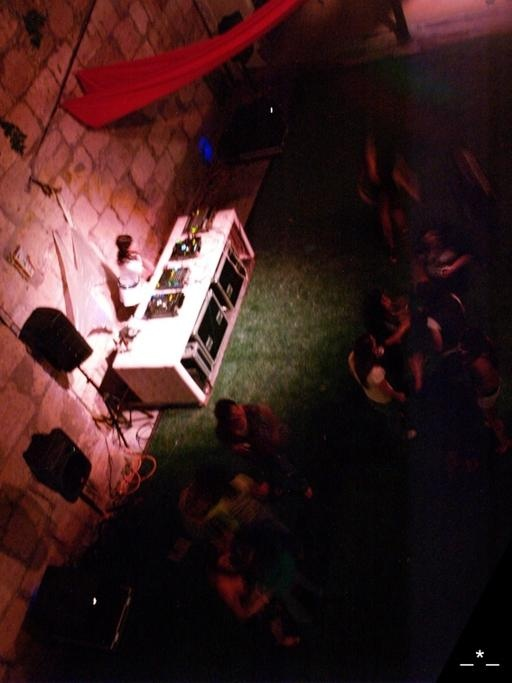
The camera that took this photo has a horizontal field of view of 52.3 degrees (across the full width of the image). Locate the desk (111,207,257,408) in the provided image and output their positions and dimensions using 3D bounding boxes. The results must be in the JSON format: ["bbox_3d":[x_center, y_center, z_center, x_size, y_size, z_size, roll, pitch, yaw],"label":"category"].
[{"bbox_3d":[-0.633,-0.404,5.438,0.632,0.741,2.210,-5,47,25],"label":"desk"}]

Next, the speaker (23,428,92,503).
[{"bbox_3d":[-1.678,1.068,4.435,0.206,0.639,0.574,3,10,34],"label":"speaker"}]
